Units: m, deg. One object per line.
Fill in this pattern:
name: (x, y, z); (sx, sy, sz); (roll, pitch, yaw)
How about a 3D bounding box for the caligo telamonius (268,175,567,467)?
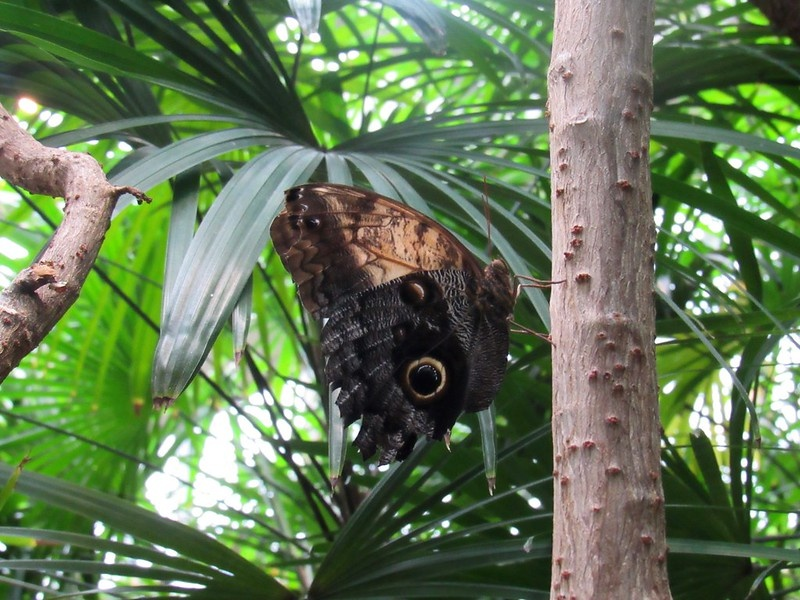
caligo telamonius: (0.000, 0.060, 2.574); (0.565, 0.581, 0.727); (-9, -34, 21)
